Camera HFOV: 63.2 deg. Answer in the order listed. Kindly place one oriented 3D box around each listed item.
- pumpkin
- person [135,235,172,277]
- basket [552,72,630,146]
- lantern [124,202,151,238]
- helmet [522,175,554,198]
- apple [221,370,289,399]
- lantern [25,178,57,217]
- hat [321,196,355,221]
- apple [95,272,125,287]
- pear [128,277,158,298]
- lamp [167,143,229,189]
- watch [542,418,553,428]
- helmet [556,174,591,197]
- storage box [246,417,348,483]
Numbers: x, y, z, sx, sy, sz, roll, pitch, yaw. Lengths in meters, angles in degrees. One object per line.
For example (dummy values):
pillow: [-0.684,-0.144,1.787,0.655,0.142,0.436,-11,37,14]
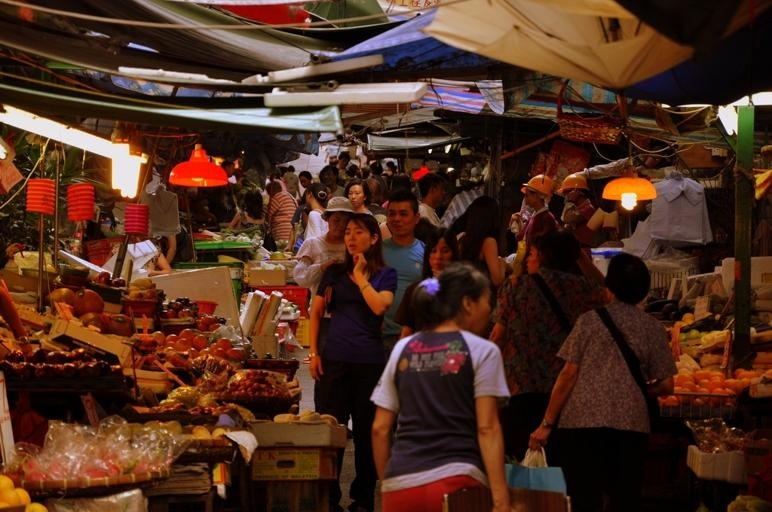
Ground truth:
pumpkin: [-2.576,0.420,5.485,0.515,0.198,0.505,27,2,-2]
person: [-3.677,0.021,9.756,0.548,0.665,1.384,0,-6,-22]
basket: [2.518,-1.839,8.474,0.956,0.927,1.009,4,-4,4]
lantern: [-3.106,-0.461,7.692,0.402,0.406,0.395,0,0,15]
helmet: [2.185,-0.996,8.888,0.436,0.225,0.337,12,4,6]
apple: [-0.970,0.952,4.660,0.489,0.203,0.271,0,-6,-14]
lantern: [-3.102,-0.536,5.638,0.214,0.328,0.178,2,-7,-34]
hat: [-0.475,-0.509,6.295,0.247,0.136,0.267,0,-16,-3]
apple: [-2.811,0.252,6.369,0.194,0.073,0.188,7,2,-19]
pear: [-2.518,0.334,6.480,0.219,0.100,0.296,1,4,-6]
lamp: [-2.870,-1.420,9.593,0.982,0.555,0.942,3,7,11]
watch: [1.062,1.090,4.094,0.056,0.037,0.068,9,-8,11]
helmet: [2.853,-1.082,9.477,0.461,0.263,0.316,2,1,-8]
storage box: [-0.622,1.330,4.281,0.498,0.286,0.472,0,-1,6]
